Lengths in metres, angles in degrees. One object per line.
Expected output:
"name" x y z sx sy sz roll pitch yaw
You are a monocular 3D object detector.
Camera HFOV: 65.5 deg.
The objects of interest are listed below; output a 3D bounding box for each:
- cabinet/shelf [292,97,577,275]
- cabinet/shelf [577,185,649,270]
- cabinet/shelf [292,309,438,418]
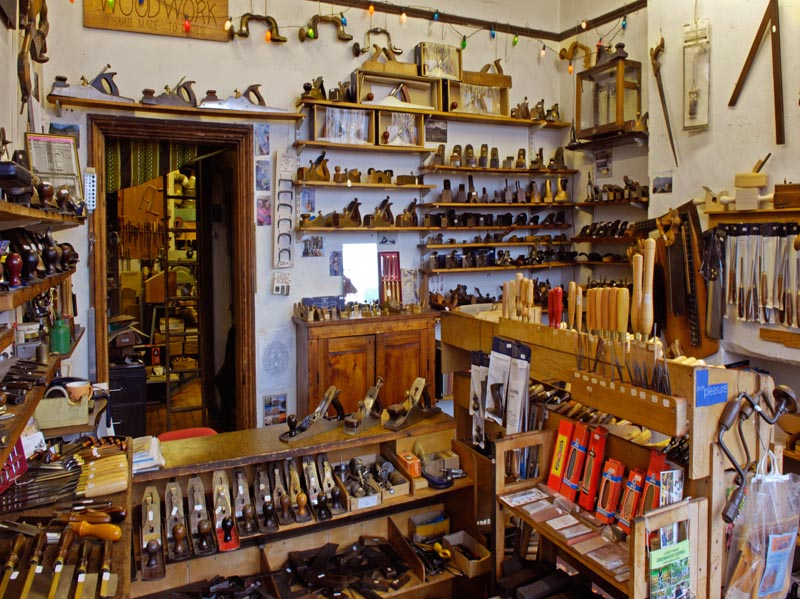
"cabinet/shelf" 0.418 -1.072 6.450 3.074 1.747 0.411 -5 6 -22
"cabinet/shelf" 2.114 -0.724 6.167 0.299 1.032 1.014 2 0 -21
"cabinet/shelf" -0.389 0.550 5.524 0.899 0.936 0.368 -1 1 -24
